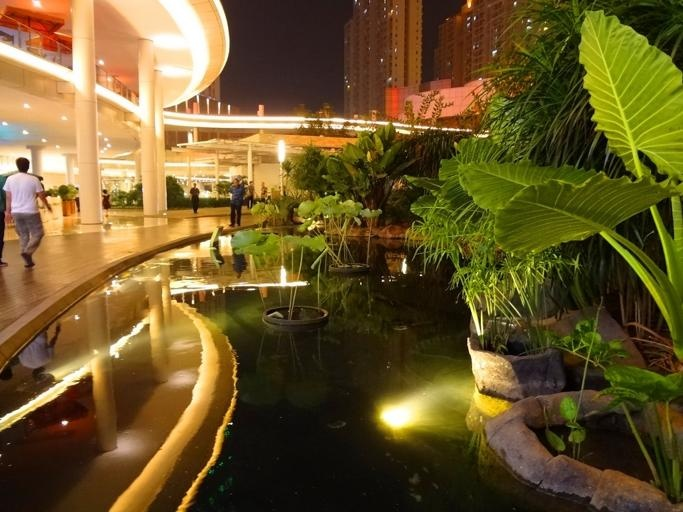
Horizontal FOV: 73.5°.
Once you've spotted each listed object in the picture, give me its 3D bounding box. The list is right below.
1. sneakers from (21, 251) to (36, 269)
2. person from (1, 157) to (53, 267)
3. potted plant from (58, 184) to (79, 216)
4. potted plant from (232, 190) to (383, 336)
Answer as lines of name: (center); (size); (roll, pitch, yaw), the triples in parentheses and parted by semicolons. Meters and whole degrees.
sneakers: (-4.996, 0.063, 7.279); (0.079, 0.235, 0.162); (13, 28, 7)
person: (-4.997, -0.693, 7.284); (0.591, 1.722, 0.984); (-7, 13, -36)
potted plant: (-13.614, -2.766, 22.783); (0.762, 1.457, 1.847); (-6, 13, -32)
potted plant: (-0.411, -0.048, 7.698); (2.786, 2.338, 3.056); (0, 7, -14)
